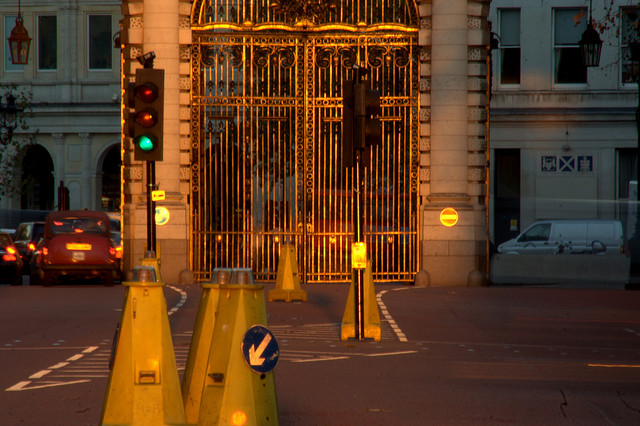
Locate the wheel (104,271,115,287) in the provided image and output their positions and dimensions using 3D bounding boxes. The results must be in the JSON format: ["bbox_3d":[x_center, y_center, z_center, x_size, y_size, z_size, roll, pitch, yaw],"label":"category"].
[{"bbox_3d":[-6.230,1.904,30.326,0.280,0.475,0.835,0,3,-11],"label":"wheel"}]

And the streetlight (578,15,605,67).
[{"bbox_3d":[7.484,-4.826,28.345,0.572,1.428,0.708,0,16,15],"label":"streetlight"}]

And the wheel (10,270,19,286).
[{"bbox_3d":[-9.607,1.972,32.184,0.269,0.516,0.824,-1,3,-17],"label":"wheel"}]

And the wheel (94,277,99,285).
[{"bbox_3d":[-6.991,2.013,32.036,0.134,0.173,1.480,0,3,-12],"label":"wheel"}]

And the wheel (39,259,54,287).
[{"bbox_3d":[-8.033,1.714,30.116,0.377,0.774,0.608,-1,3,-17],"label":"wheel"}]

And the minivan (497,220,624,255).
[{"bbox_3d":[9.083,1.307,38.184,4.922,1.963,1.656,-1,-14,35],"label":"minivan"}]

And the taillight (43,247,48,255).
[{"bbox_3d":[-8.040,1.077,29.989,0.202,0.211,0.103,3,4,37],"label":"taillight"}]

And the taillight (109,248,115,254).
[{"bbox_3d":[-6.134,1.091,30.243,0.132,0.158,0.133,2,-3,-7],"label":"taillight"}]

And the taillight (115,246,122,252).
[{"bbox_3d":[-6.037,1.041,30.646,0.176,0.134,0.572,0,3,-10],"label":"taillight"}]

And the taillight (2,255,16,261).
[{"bbox_3d":[-9.660,1.362,31.821,0.390,0.171,0.094,-1,3,-20],"label":"taillight"}]

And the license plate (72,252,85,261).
[{"bbox_3d":[-7.073,1.231,30.022,0.323,0.233,0.090,-1,3,-16],"label":"license plate"}]

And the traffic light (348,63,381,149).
[{"bbox_3d":[0.915,-2.148,20.771,0.556,1.772,0.539,1,9,3],"label":"traffic light"}]

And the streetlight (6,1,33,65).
[{"bbox_3d":[-9.131,-5.230,31.755,0.776,2.586,0.835,3,-1,-40],"label":"streetlight"}]
